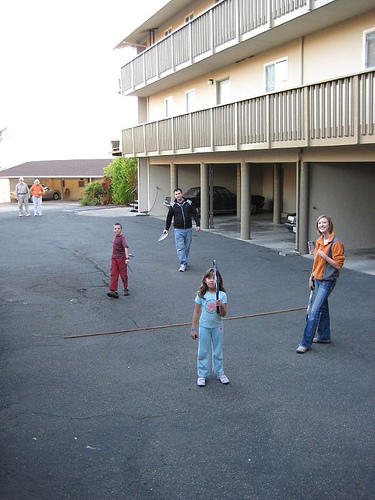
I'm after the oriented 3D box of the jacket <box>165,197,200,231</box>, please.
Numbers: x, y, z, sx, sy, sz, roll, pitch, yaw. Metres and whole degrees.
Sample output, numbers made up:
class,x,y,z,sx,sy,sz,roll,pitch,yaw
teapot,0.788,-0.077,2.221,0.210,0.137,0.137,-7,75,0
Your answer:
class,x,y,z,sx,sy,sz,roll,pitch,yaw
jacket,-0.135,-1.051,11.263,0.924,0.890,0.666,0,4,-1

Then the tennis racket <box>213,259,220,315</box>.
class,x,y,z,sx,sy,sz,roll,pitch,yaw
tennis racket,0.320,0.324,4.347,0.072,0.398,0.173,0,4,5

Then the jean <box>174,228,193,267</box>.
class,x,y,z,sx,sy,sz,roll,pitch,yaw
jean,-0.119,-0.073,11.449,0.536,1.135,0.387,-2,4,-25

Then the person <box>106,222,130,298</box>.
class,x,y,z,sx,sy,sz,roll,pitch,yaw
person,-1.598,0.195,9.281,0.517,1.628,2.026,-1,4,-10

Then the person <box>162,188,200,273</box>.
class,x,y,z,sx,sy,sz,roll,pitch,yaw
person,-0.161,-0.533,11.270,0.926,2.305,0.775,-1,4,-7

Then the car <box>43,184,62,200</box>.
class,x,y,z,sx,sy,sz,roll,pitch,yaw
car,-17.262,-7.369,50.760,3.393,1.173,1.522,7,-6,-43

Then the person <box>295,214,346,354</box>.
class,x,y,z,sx,sy,sz,roll,pitch,yaw
person,1.877,0.469,5.650,0.615,1.896,0.654,1,4,17
